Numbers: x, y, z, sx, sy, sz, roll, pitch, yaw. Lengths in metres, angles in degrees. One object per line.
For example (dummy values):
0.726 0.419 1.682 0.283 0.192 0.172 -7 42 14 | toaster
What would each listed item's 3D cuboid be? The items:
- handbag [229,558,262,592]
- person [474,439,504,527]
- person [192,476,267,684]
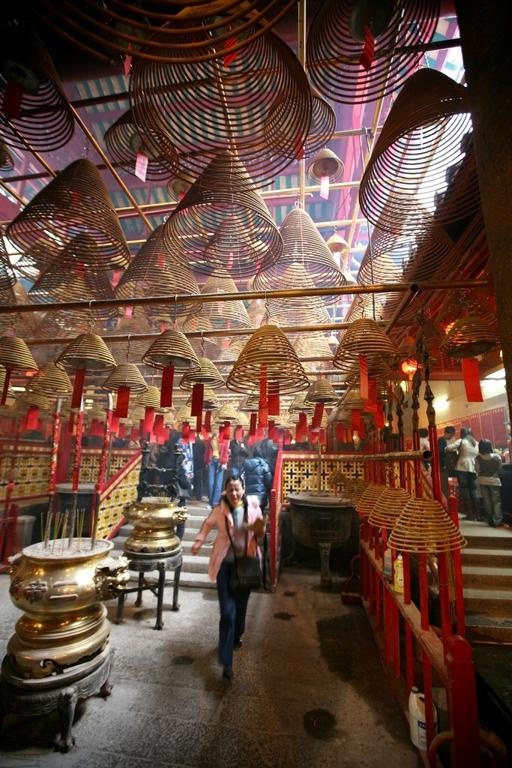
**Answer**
-0.097 1.646 3.783 0.337 0.296 0.171 1 -41 -4 | handbag
3.367 1.417 6.300 0.310 1.191 0.433 -4 -14 27 | person
-0.232 1.644 3.966 0.585 1.594 0.705 5 -13 -14 | person
